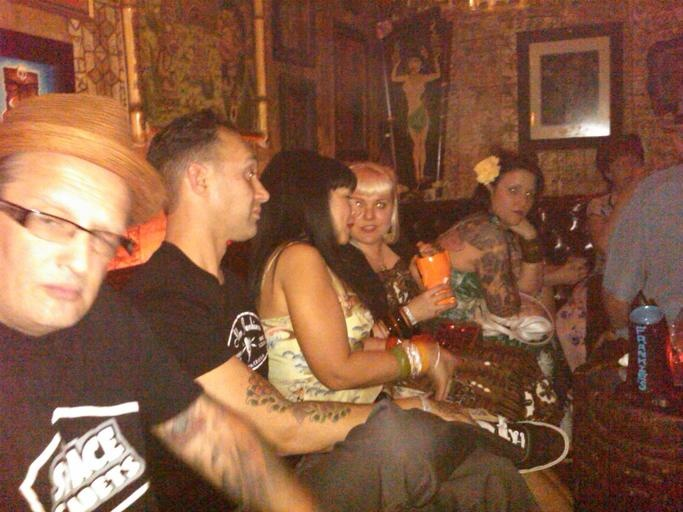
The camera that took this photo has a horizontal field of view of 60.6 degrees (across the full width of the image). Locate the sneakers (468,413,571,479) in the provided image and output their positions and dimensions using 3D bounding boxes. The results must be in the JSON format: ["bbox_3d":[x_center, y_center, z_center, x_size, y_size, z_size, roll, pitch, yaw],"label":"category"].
[{"bbox_3d":[0.823,0.819,2.579,0.593,0.198,0.225,14,-2,-28],"label":"sneakers"}]

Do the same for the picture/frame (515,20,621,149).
[{"bbox_3d":[1.459,-1.101,3.680,0.828,0.931,0.043,-1,2,18],"label":"picture/frame"}]

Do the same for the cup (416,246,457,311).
[{"bbox_3d":[0.436,0.093,2.656,0.142,0.282,0.131,-8,-17,-2],"label":"cup"}]
